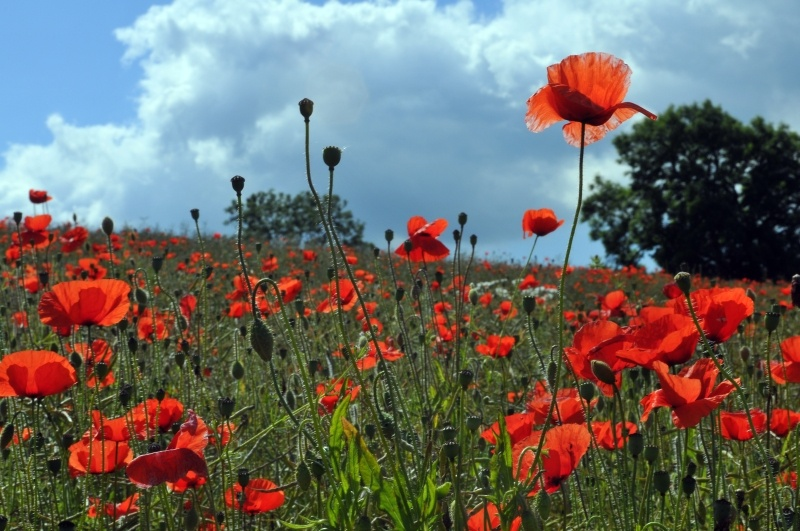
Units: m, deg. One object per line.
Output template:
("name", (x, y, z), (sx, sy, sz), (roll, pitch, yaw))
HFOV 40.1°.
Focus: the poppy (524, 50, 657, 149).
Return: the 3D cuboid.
("poppy", (1.197, -1.031, 6.872), (0.894, 0.312, 0.728), (35, 11, 25))
